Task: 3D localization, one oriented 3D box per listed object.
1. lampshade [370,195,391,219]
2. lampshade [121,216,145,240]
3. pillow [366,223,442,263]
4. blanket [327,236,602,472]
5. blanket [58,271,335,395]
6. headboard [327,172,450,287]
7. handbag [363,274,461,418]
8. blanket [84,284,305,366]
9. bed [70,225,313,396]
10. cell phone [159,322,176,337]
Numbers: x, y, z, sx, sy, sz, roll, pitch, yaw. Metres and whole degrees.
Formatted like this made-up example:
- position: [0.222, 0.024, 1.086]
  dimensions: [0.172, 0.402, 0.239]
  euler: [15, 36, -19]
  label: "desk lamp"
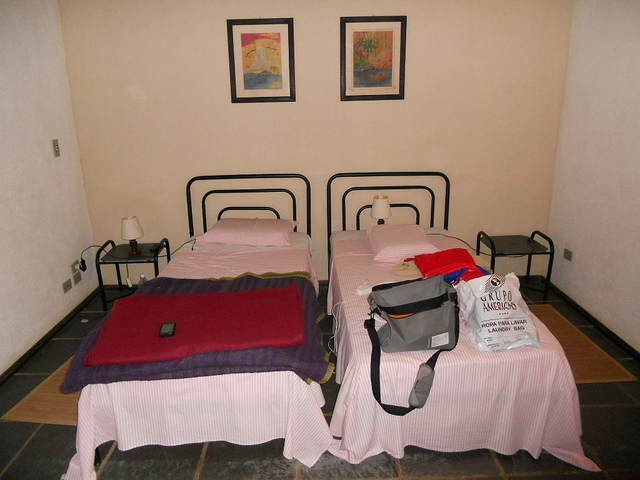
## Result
- position: [0.582, -0.311, 4.705]
  dimensions: [0.184, 0.195, 0.195]
  euler: [1, 19, 4]
  label: "lampshade"
- position: [-1.750, -0.122, 4.660]
  dimensions: [0.187, 0.212, 0.202]
  euler: [4, 14, 11]
  label: "lampshade"
- position: [0.715, 0.009, 4.400]
  dimensions: [0.401, 0.105, 0.413]
  euler: [-10, 19, -10]
  label: "pillow"
- position: [0.950, 0.861, 3.708]
  dimensions: [1.759, 0.923, 1.361]
  euler: [-1, 18, 3]
  label: "blanket"
- position: [-0.763, 0.682, 3.228]
  dimensions: [1.327, 0.293, 1.125]
  euler: [1, 31, -4]
  label: "blanket"
- position: [0.651, -0.171, 4.822]
  dimensions: [1.099, 0.049, 1.182]
  euler: [0, 41, 13]
  label: "headboard"
- position: [0.588, 0.589, 3.208]
  dimensions: [0.613, 0.366, 0.938]
  euler: [5, 49, 19]
  label: "handbag"
- position: [-0.980, 0.647, 3.731]
  dimensions: [1.237, 0.324, 1.998]
  euler: [5, 2, -18]
  label: "blanket"
- position: [-0.740, 0.333, 4.196]
  dimensions: [1.515, 0.232, 2.522]
  euler: [-1, 22, 6]
  label: "bed"
- position: [-1.006, 0.596, 3.260]
  dimensions: [0.111, 0.017, 0.155]
  euler: [0, 31, -4]
  label: "cell phone"
